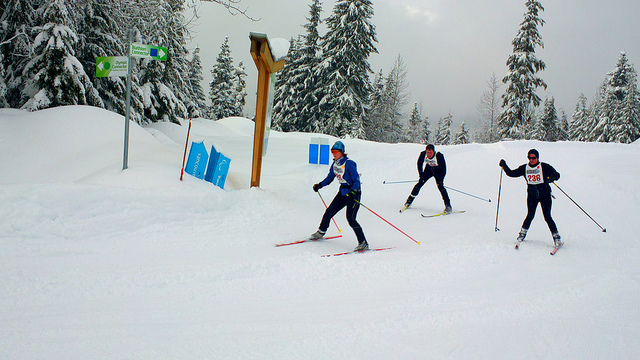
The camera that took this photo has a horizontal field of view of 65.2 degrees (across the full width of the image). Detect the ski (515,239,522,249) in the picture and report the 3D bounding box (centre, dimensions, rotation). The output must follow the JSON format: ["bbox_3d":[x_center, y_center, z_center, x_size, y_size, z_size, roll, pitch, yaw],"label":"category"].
[{"bbox_3d":[7.175,2.305,18.017,0.127,0.046,0.448,25,46,16],"label":"ski"}]

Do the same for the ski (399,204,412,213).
[{"bbox_3d":[3.618,1.174,21.114,0.087,0.113,0.861,44,40,12],"label":"ski"}]

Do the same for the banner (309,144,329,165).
[{"bbox_3d":[-0.039,-1.366,26.863,1.034,1.013,0.124,4,-5,9],"label":"banner"}]

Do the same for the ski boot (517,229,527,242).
[{"bbox_3d":[7.381,2.025,18.213,0.259,0.458,0.425,7,8,20],"label":"ski boot"}]

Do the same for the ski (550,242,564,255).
[{"bbox_3d":[8.508,2.459,17.820,0.781,0.106,0.112,-30,51,-26],"label":"ski"}]

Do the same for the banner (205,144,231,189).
[{"bbox_3d":[-4.305,-0.547,20.811,0.975,1.698,0.466,3,8,-7],"label":"banner"}]

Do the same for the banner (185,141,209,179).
[{"bbox_3d":[-5.152,-0.809,20.695,0.859,1.459,0.358,5,8,6],"label":"banner"}]
